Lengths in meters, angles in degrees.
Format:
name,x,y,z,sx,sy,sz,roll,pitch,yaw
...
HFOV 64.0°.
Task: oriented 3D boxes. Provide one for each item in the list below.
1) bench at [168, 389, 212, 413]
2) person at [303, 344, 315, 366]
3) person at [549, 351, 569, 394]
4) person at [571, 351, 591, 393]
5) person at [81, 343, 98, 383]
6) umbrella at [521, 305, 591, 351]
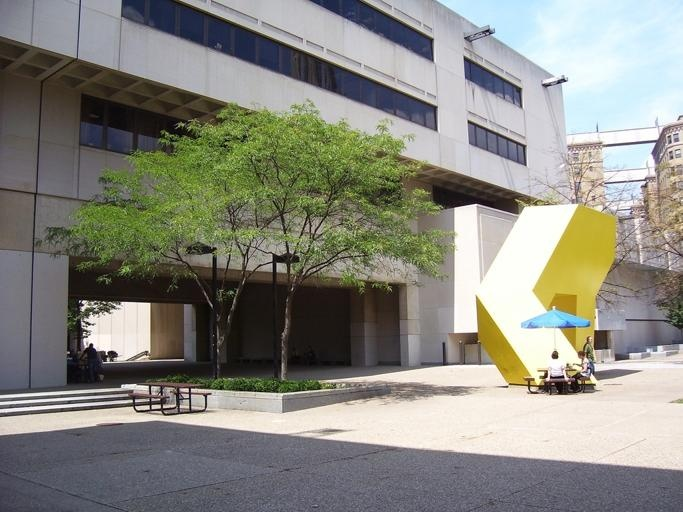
name,x,y,z,sx,sy,sz,roll,pitch,yaw
bench,-4.907,4.465,17.337,1.289,0.782,2.662,0,-7,-18
person,-2.291,7.124,39.306,0.812,1.253,1.304,-2,-6,-6
person,7.388,3.918,18.571,0.592,1.458,1.143,-6,-7,37
person,8.487,4.057,19.167,0.548,1.458,0.737,2,-1,-32
person,-11.291,4.773,24.670,0.600,1.646,2.764,0,-7,-25
umbrella,7.664,2.581,19.197,2.954,1.411,1.688,4,-9,-45
